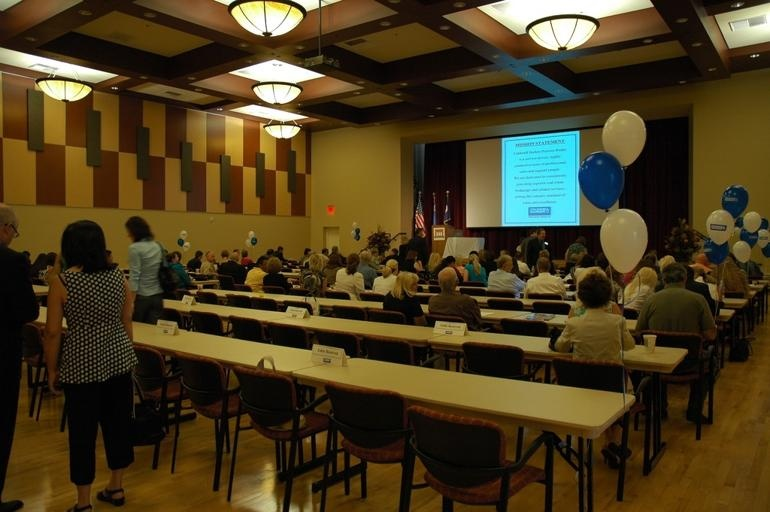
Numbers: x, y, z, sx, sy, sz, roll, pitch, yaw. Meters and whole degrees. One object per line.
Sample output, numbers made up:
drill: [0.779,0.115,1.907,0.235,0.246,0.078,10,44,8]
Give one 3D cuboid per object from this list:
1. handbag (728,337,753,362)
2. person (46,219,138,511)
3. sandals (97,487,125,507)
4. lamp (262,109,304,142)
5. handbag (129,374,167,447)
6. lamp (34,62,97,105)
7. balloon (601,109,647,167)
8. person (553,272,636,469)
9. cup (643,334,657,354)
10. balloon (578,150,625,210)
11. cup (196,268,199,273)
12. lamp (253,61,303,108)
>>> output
handbag: [5.792,1.553,9.501,0.412,0.461,0.319,6,-6,-25]
person: [-2.688,1.035,5.272,0.726,2.725,0.355,-4,5,-26]
sandals: [-2.641,2.296,5.541,0.279,0.126,0.138,5,0,40]
lamp: [-3.283,-4.157,18.047,1.320,0.875,1.210,4,-4,-37]
handbag: [-2.593,1.512,6.172,0.307,0.417,0.292,-8,1,-24]
lamp: [-7.527,-3.843,13.475,1.086,0.468,1.157,-2,6,-20]
balloon: [2.615,-1.307,6.316,0.406,0.616,0.389,0,5,21]
person: [2.283,1.192,6.146,0.755,2.053,0.624,-5,5,21]
cup: [2.830,0.930,6.086,0.160,0.197,0.160,0,6,0]
balloon: [2.346,-0.823,6.247,0.434,0.639,0.252,-2,5,7]
cup: [-4.849,0.370,14.840,0.072,0.095,0.132,2,-2,-42]
lamp: [-2.496,-3.893,13.036,0.736,0.511,0.710,3,6,27]
